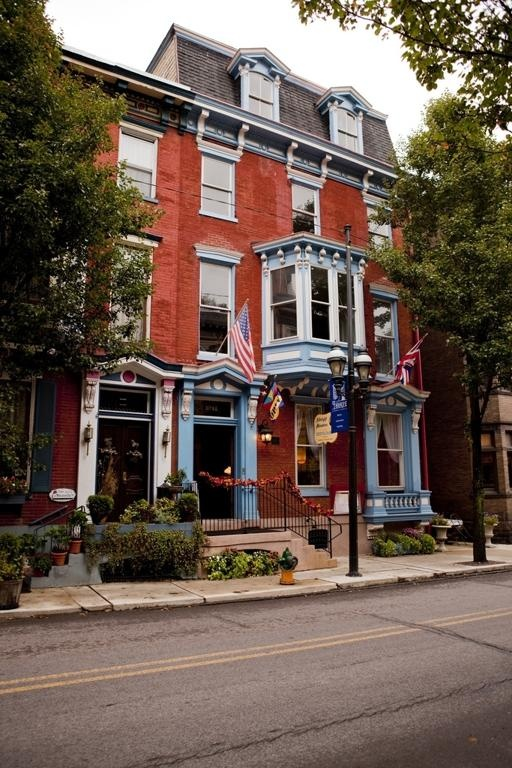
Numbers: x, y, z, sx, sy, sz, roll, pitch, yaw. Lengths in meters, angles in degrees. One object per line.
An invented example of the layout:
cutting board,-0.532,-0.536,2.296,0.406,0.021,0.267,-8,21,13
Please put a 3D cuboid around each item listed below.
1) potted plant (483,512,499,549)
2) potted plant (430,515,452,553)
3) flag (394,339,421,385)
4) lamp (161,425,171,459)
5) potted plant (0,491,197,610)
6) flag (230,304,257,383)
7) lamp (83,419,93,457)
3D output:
potted plant,8.093,5.029,21.004,0.430,1.008,1.638,-3,-9,21
potted plant,6.001,4.826,19.889,0.580,1.058,1.683,-2,-9,16
flag,4.752,-0.733,19.202,0.761,1.586,2.357,-2,-9,15
lamp,-2.148,1.395,14.549,0.211,0.718,0.123,3,-9,-20
potted plant,-2.439,3.183,11.969,2.683,1.853,0.894,1,-51,-16
flag,-0.321,-1.091,14.759,0.506,1.913,0.941,0,-9,-2
lamp,-3.644,1.191,13.376,0.139,0.712,0.262,-6,-11,36
